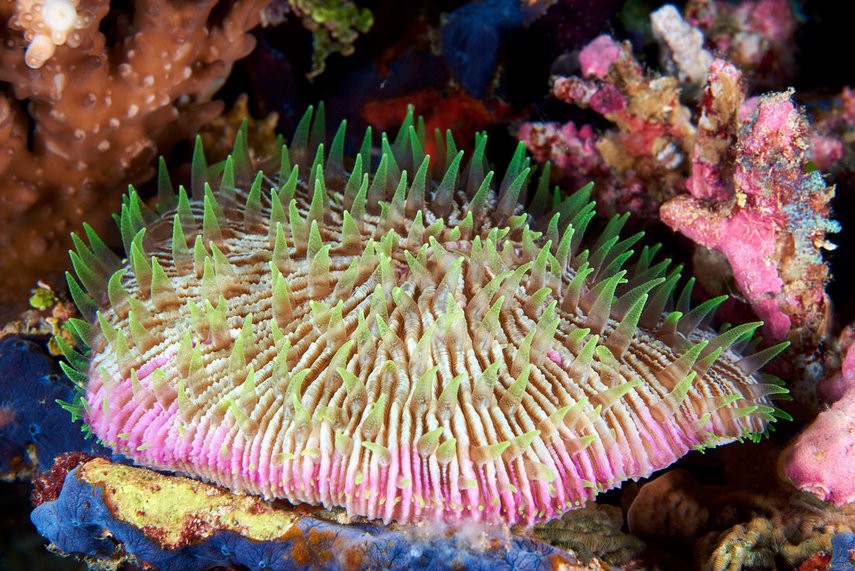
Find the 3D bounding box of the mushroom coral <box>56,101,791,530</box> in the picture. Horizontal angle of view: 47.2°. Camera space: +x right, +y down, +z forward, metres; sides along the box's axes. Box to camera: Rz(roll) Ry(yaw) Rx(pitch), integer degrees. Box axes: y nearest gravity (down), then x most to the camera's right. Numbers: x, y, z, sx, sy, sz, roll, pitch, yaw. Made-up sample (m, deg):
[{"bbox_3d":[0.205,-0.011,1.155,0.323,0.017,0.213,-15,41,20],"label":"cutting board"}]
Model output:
[{"bbox_3d":[-0.108,0.349,6.585,3.640,1.739,3.046,-6,48,-11],"label":"mushroom coral"}]
